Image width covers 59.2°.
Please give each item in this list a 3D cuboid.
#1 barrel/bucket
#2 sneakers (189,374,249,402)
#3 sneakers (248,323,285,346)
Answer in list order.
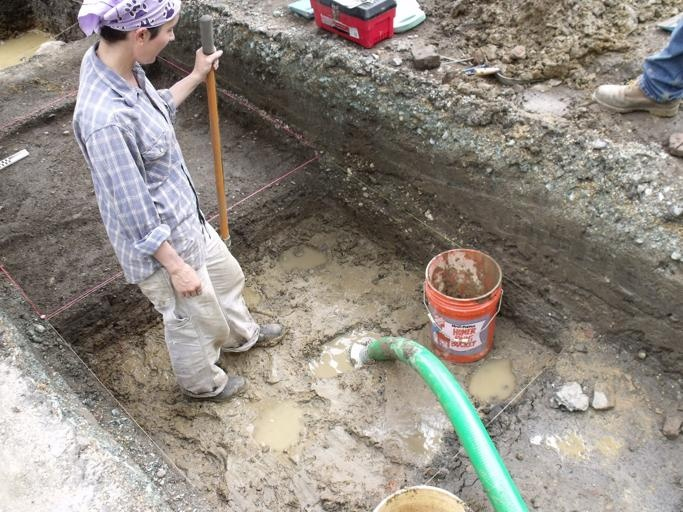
[{"bbox_3d":[0.767,0.323,3.725,0.349,0.511,0.383,-3,53,4],"label":"barrel/bucket"},{"bbox_3d":[-0.767,0.835,3.786,0.365,0.166,0.149,-8,58,-8],"label":"sneakers"},{"bbox_3d":[-0.487,0.520,3.956,0.235,0.107,0.086,-26,62,-39],"label":"sneakers"}]
